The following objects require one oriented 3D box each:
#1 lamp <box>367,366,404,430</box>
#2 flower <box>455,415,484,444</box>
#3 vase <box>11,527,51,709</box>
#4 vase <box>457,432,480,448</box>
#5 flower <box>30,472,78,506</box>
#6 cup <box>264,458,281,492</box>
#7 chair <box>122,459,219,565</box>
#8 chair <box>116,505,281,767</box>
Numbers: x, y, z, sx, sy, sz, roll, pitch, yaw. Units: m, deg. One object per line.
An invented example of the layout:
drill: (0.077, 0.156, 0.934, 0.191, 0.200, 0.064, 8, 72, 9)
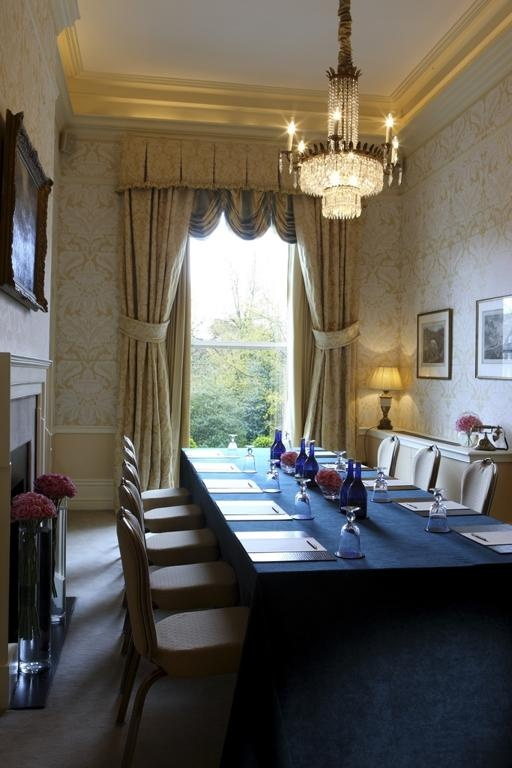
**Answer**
lamp: (1.404, 0.143, 5.734, 0.338, 0.718, 0.509, 0, -4, 16)
flower: (1.718, 0.346, 4.242, 0.219, 0.303, 0.217, 0, -3, -42)
vase: (-0.874, 0.880, 2.092, 0.139, 0.657, 0.358, 2, -4, -22)
vase: (1.722, 0.451, 4.329, 0.124, 0.141, 0.114, 2, 1, -18)
flower: (-0.999, 0.505, 2.643, 0.164, 0.198, 0.171, -1, 0, 21)
cup: (0.086, 0.493, 2.751, 0.098, 0.227, 0.106, 2, -5, 0)
chair: (-0.429, 0.677, 2.788, 0.460, 0.700, 0.632, -4, 8, -13)
chair: (-0.207, 0.724, 1.922, 0.628, 0.971, 0.541, -2, 1, -10)
